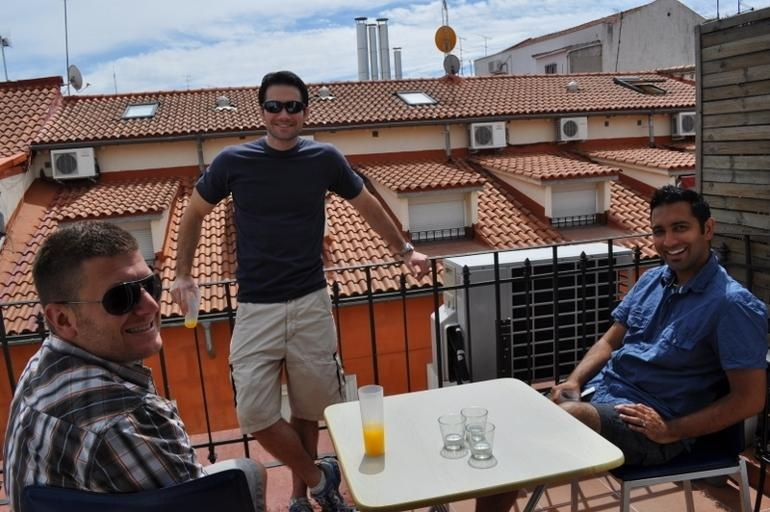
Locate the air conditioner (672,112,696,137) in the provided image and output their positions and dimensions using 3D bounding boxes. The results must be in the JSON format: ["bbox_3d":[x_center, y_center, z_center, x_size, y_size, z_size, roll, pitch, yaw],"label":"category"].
[{"bbox_3d":[9.758,-4.324,19.340,0.591,0.778,0.405,-5,2,11],"label":"air conditioner"}]

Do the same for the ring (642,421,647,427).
[{"bbox_3d":[1.374,0.899,3.140,0.025,0.022,0.006,5,-11,11],"label":"ring"}]

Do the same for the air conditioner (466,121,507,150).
[{"bbox_3d":[3.040,-3.615,17.683,1.444,0.938,0.741,-1,3,-5],"label":"air conditioner"}]

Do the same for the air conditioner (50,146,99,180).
[{"bbox_3d":[-7.988,-2.285,15.250,1.347,0.908,0.783,-1,3,-8],"label":"air conditioner"}]

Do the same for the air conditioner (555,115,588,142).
[{"bbox_3d":[5.856,-4.012,18.772,1.250,0.978,0.642,-1,7,-5],"label":"air conditioner"}]

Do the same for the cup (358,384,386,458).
[{"bbox_3d":[-0.069,0.768,2.757,0.151,0.285,0.161,-3,5,0],"label":"cup"}]

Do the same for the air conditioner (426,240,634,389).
[{"bbox_3d":[1.126,0.467,4.494,1.336,1.048,0.428,-1,8,-18],"label":"air conditioner"}]
